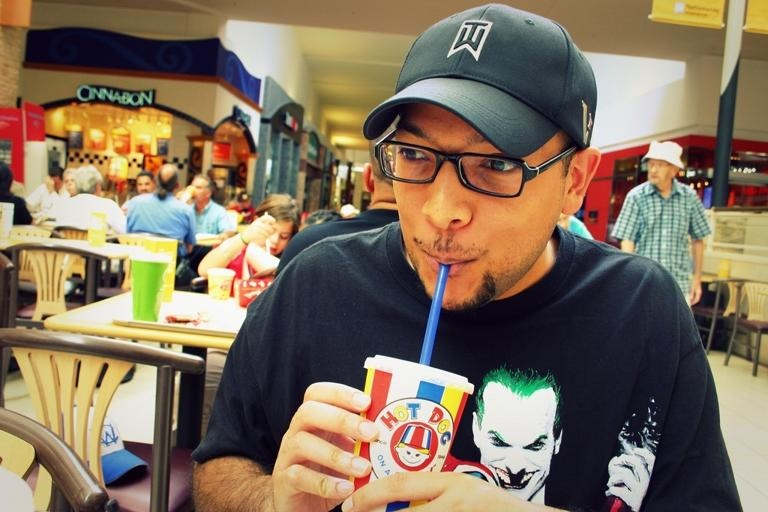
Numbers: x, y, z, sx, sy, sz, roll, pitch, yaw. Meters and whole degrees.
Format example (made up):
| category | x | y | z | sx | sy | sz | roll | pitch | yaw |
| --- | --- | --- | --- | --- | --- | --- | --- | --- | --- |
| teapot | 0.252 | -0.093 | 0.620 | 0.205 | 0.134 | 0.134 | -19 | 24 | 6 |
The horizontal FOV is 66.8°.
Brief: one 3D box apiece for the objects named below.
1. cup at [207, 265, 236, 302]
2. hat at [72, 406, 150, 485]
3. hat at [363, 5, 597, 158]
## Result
| category | x | y | z | sx | sy | sz | roll | pitch | yaw |
| --- | --- | --- | --- | --- | --- | --- | --- | --- | --- |
| cup | -1.034 | 0.169 | 3.707 | 0.181 | 0.147 | 0.187 | 6 | -1 | 0 |
| hat | -1.192 | 0.767 | 2.437 | 0.337 | 0.186 | 0.223 | 18 | 11 | 26 |
| hat | 0.301 | -0.467 | 1.661 | 0.426 | 0.318 | 0.605 | 15 | 6 | 36 |
